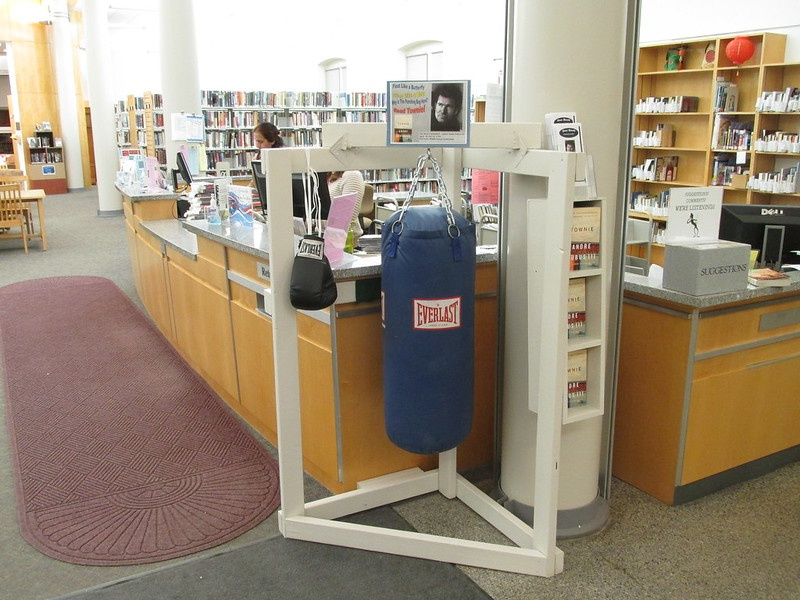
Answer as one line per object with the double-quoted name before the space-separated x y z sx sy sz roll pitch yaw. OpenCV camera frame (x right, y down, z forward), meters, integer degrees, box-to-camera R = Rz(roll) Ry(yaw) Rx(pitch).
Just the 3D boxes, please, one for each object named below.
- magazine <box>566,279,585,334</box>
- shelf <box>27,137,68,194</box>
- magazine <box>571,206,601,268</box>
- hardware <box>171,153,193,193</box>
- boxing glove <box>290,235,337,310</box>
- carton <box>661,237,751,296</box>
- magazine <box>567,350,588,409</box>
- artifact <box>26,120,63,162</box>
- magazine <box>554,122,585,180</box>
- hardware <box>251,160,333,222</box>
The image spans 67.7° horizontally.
"magazine" 0.837 0.036 2.811 0.106 0.271 0.053 -12 21 -31
"shelf" -9.747 -3.751 16.454 0.910 1.597 0.555 -8 17 -33
"magazine" 0.842 -0.295 2.719 0.084 0.237 0.251 1 9 14
"hardware" -2.715 -1.595 7.409 0.211 0.497 1.541 -7 20 -18
"boxing glove" -0.403 -0.124 2.773 0.207 0.328 0.188 8 9 24
"carton" 1.609 -0.175 3.142 0.374 0.235 0.215 -6 13 -19
"magazine" 0.850 0.375 2.838 0.120 0.272 0.052 -10 20 -27
"artifact" -9.763 -4.312 16.310 0.989 1.430 0.356 -11 17 -41
"magazine" 0.771 -0.659 2.671 0.141 0.242 0.335 2 19 8
"hardware" -0.582 -0.592 3.272 0.279 0.389 0.539 -10 23 -22
